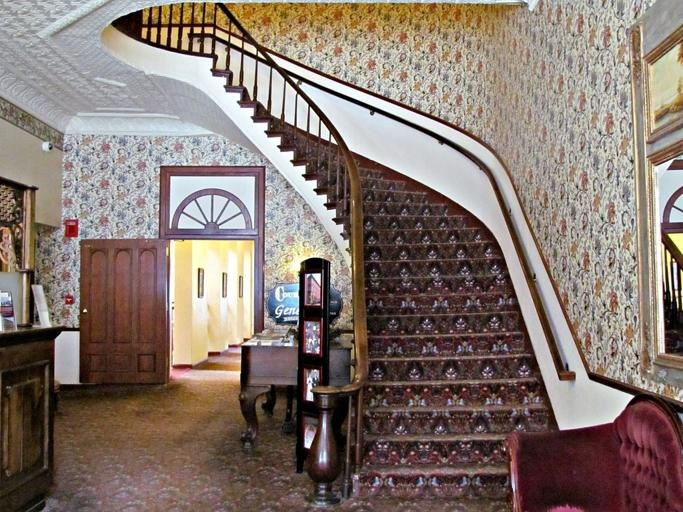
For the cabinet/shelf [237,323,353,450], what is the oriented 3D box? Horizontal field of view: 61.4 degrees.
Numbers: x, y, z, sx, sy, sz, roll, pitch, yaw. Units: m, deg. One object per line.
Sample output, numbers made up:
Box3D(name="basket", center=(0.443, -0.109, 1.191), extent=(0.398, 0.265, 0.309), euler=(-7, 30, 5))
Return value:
Box3D(name="cabinet/shelf", center=(-0.514, 1.368, 6.492), extent=(1.106, 1.017, 1.281), euler=(0, -2, 0))
